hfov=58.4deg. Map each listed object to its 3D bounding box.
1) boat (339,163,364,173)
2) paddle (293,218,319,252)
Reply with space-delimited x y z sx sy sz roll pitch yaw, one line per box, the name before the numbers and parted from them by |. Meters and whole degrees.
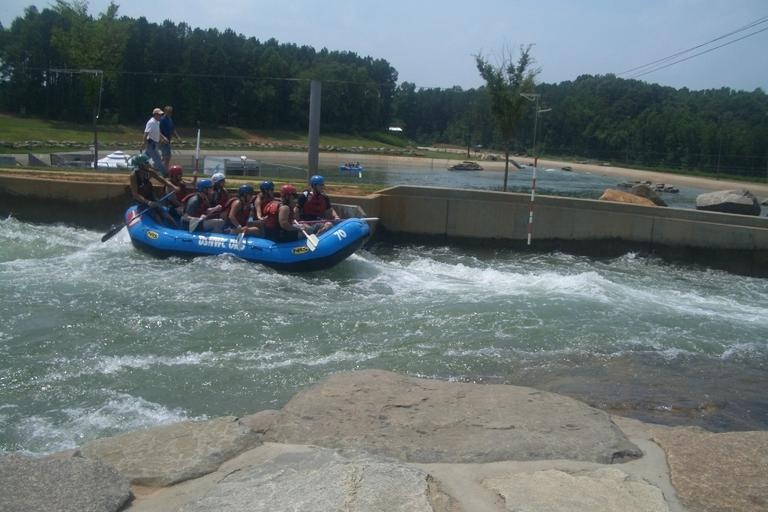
boat | -2.009 -5.720 44.856 1.548 0.545 1.910 1 4 3
paddle | -1.907 -0.492 17.098 0.661 0.691 0.357 2 11 4
